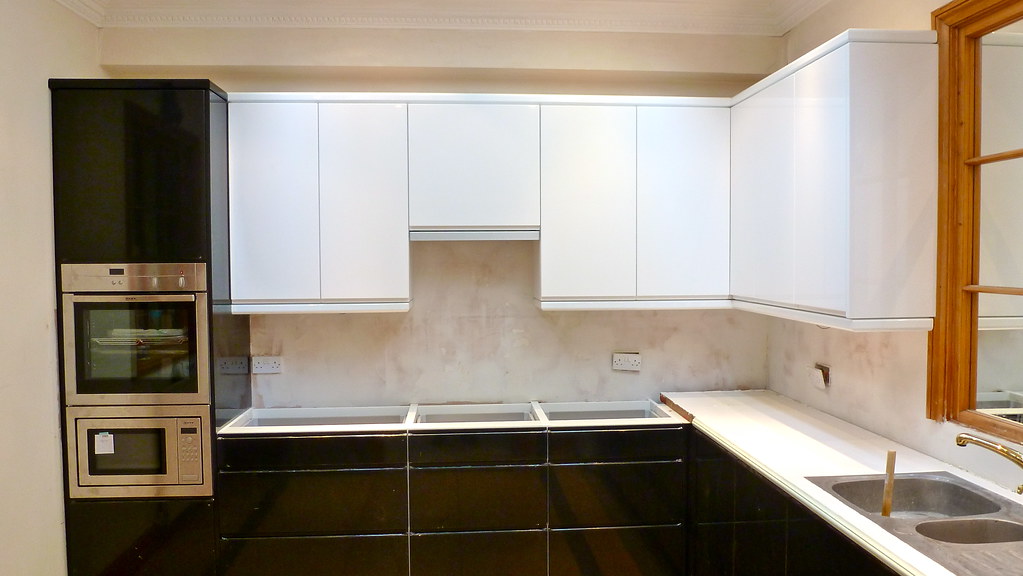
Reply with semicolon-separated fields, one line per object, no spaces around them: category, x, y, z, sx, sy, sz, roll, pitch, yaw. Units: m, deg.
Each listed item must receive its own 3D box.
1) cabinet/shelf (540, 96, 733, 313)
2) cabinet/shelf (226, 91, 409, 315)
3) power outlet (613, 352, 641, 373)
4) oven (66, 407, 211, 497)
cabinet/shelf;0.751;-0.578;4.930;1.552;1.285;0.469;0;2;0
cabinet/shelf;-1.261;-0.566;4.821;1.581;1.621;0.598;0;-1;-3
power outlet;0.789;0.511;5.286;0.218;0.120;0.046;1;2;-5
oven;-2.176;0.997;4.873;1.035;0.566;0.562;-4;-4;11
